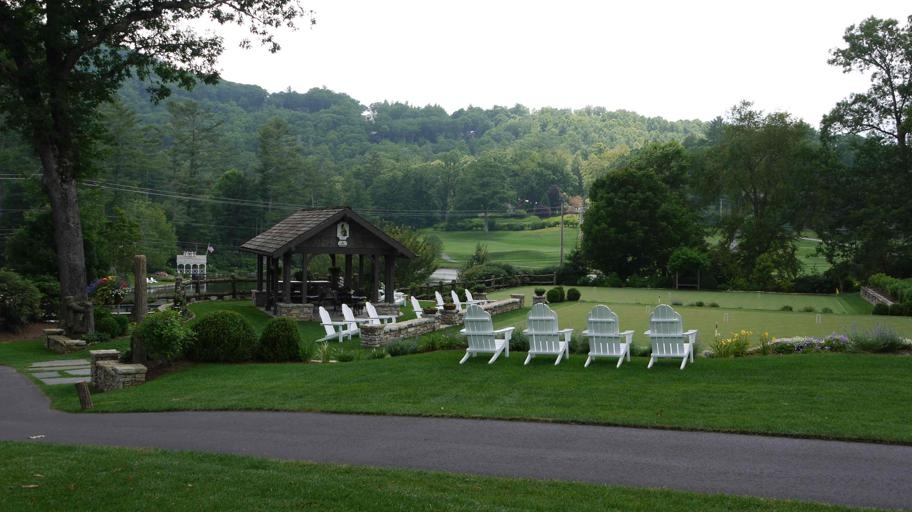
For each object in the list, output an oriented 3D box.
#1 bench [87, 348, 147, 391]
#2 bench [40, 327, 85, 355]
[{"bbox_3d":[-14.554,4.917,35.181,2.686,1.686,1.331,-1,-3,34],"label":"bench"},{"bbox_3d":[-19.519,4.200,40.896,1.331,1.103,2.194,4,-4,-44],"label":"bench"}]
